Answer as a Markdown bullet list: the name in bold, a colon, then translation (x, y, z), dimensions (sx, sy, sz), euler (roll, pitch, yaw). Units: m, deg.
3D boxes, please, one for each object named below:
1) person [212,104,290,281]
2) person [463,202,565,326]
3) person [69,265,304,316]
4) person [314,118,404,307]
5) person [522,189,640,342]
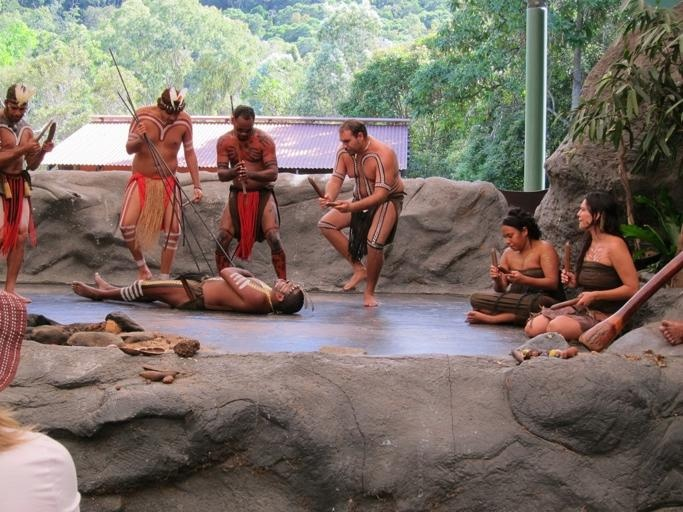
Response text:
- **person**: translation (-0.810, -0.572, 6.266), dimensions (0.533, 1.448, 0.684), euler (-4, 17, -7)
- **person**: translation (1.287, 0.093, 5.376), dimensions (0.763, 0.789, 0.566), euler (-8, 3, -12)
- **person**: translation (-1.090, 0.348, 5.658), dimensions (2.223, 0.442, 0.636), euler (-3, -10, 16)
- **person**: translation (0.189, -0.368, 6.449), dimensions (0.769, 1.709, 1.016), euler (-3, 16, -2)
- **person**: translation (1.586, 0.075, 4.809), dimensions (0.683, 0.909, 0.653), euler (-4, 2, 6)
